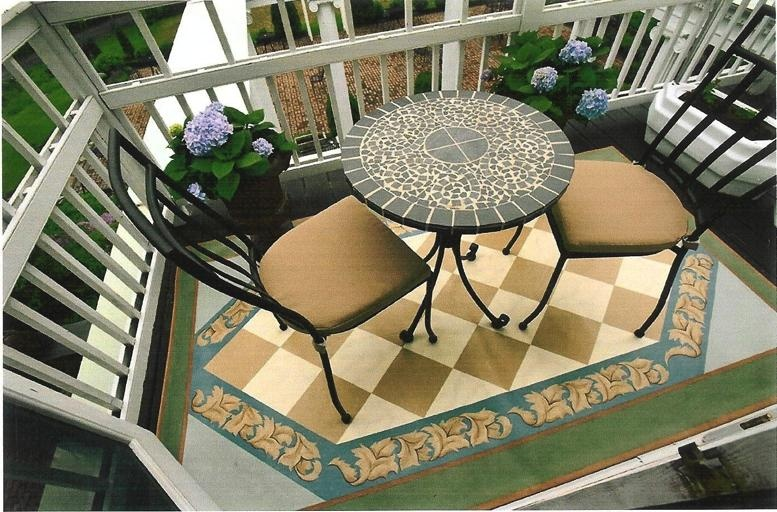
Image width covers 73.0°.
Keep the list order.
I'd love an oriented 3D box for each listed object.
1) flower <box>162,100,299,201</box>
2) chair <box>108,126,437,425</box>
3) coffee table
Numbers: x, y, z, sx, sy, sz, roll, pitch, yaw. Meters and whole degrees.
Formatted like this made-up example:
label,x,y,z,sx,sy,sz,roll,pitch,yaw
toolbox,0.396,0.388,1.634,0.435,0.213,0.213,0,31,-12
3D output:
label,x,y,z,sx,sy,sz,roll,pitch,yaw
flower,-0.991,-0.724,3.082,0.808,0.730,0.303,-28,88,-50
chair,-0.429,0.108,2.656,1.110,1.526,0.782,-31,52,-21
coffee table,0.410,-0.290,3.159,1.195,1.149,1.056,-27,58,-15
